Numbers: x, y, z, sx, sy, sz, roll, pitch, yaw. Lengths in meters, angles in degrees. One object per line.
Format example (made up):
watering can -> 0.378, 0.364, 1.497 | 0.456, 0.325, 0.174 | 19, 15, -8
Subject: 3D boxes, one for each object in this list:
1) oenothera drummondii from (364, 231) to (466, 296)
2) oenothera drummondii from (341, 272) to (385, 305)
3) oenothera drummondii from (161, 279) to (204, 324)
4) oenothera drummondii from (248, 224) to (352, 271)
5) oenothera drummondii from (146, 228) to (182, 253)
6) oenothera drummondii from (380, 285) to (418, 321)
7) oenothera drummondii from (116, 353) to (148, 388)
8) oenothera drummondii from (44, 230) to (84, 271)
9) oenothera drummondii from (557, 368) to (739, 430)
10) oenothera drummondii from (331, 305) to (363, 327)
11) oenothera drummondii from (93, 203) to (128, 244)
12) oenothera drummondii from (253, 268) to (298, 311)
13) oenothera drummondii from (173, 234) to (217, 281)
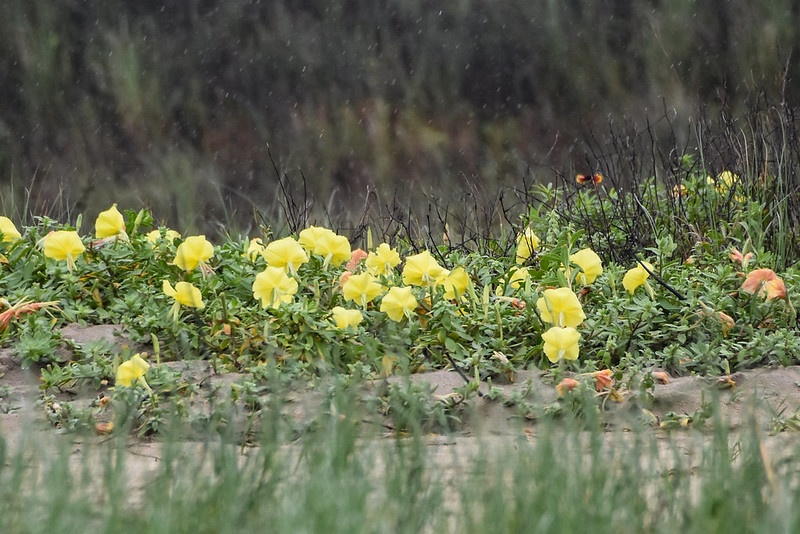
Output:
oenothera drummondii -> 0.094, 0.023, 6.476 | 0.591, 0.346, 0.287 | -3, -13, 8
oenothera drummondii -> -0.210, 0.114, 6.408 | 0.189, 0.195, 0.079 | -14, 28, -39
oenothera drummondii -> -1.161, 0.182, 6.260 | 0.179, 0.146, 0.195 | -10, 19, -12
oenothera drummondii -> -0.507, -0.095, 6.496 | 0.305, 0.142, 0.315 | -5, 32, 8
oenothera drummondii -> -1.360, -0.171, 6.759 | 0.139, 0.063, 0.161 | -15, 19, -18
oenothera drummondii -> 0.003, 0.196, 6.386 | 0.218, 0.193, 0.189 | 3, -13, -16
oenothera drummondii -> -1.388, 0.534, 6.016 | 0.201, 0.142, 0.222 | -2, -13, 5
oenothera drummondii -> -1.891, -0.093, 6.638 | 0.223, 0.221, 0.242 | 3, -13, -17
oenothera drummondii -> 1.383, 0.692, 6.012 | 0.591, 0.195, 0.480 | -1, 8, -7
oenothera drummondii -> -0.279, 0.273, 6.365 | 0.174, 0.115, 0.101 | 3, -13, -15
oenothera drummondii -> -1.639, -0.272, 6.724 | 0.175, 0.213, 0.160 | 3, -13, -15
oenothera drummondii -> -0.670, 0.114, 6.400 | 0.231, 0.229, 0.184 | 0, -12, -4
oenothera drummondii -> -1.098, -0.063, 6.400 | 0.090, 0.249, 0.234 | 7, -10, -6
